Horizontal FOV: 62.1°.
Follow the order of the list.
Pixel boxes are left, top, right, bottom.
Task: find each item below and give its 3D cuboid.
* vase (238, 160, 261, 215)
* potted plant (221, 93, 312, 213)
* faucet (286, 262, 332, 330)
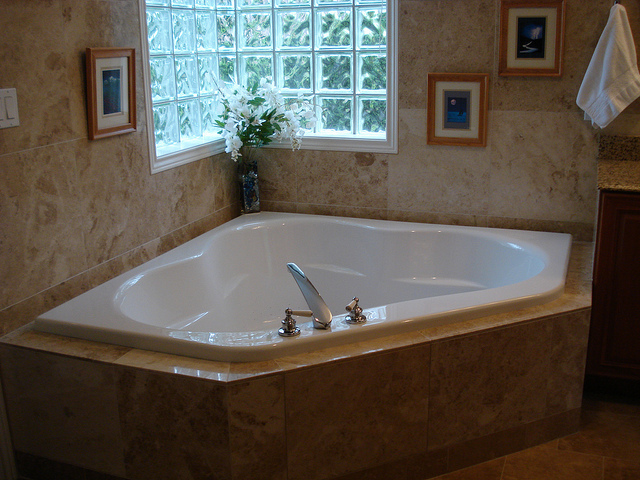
[{"bbox_3d":[-0.453,-0.339,3.407,0.142,0.342,0.113,-3,13,-17],"label":"vase"},{"bbox_3d":[-0.422,-0.574,3.332,0.513,0.752,0.624,1,-5,-32],"label":"potted plant"},{"bbox_3d":[-0.032,0.210,2.006,0.145,0.261,0.183,5,13,16],"label":"faucet"}]
